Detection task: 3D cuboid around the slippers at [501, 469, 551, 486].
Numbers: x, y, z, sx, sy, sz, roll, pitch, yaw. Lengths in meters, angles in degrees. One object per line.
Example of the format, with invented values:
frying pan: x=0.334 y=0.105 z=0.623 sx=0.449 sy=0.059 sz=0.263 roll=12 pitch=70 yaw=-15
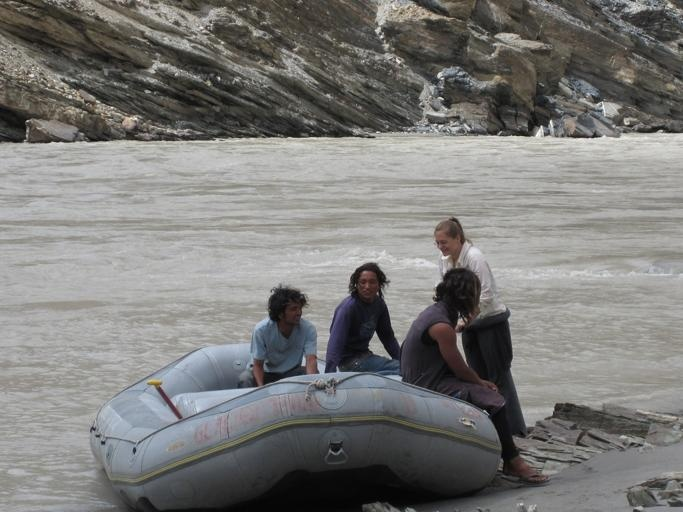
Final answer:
slippers: x=2.754 y=3.328 z=17.850 sx=0.649 sy=0.135 sz=0.225 roll=-4 pitch=-5 yaw=30
